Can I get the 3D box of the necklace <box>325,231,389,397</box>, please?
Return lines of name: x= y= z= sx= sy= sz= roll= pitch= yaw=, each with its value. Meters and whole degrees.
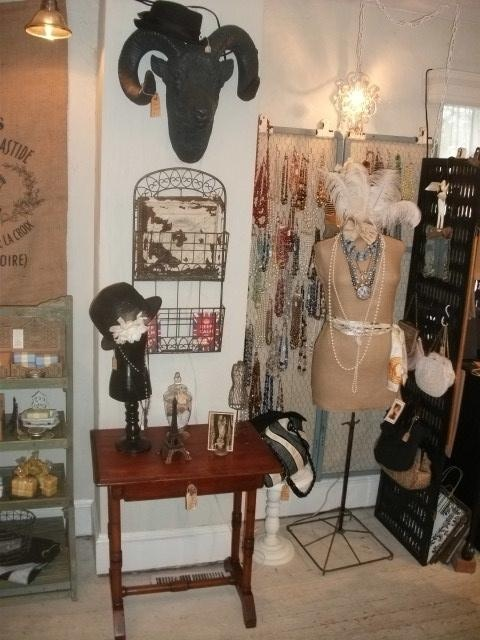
necklace: x=0.587 y=-0.013 z=2.783 sx=0.326 sy=0.780 sz=0.131 roll=4 pitch=11 yaw=6

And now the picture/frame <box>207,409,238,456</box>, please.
picture/frame: x=-0.085 y=0.508 z=2.520 sx=0.124 sy=0.175 sz=0.023 roll=5 pitch=-11 yaw=-14

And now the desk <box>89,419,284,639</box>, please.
desk: x=-0.280 y=0.964 z=2.641 sx=0.800 sy=0.887 sz=0.590 roll=0 pitch=11 yaw=-17

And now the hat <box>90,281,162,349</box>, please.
hat: x=-0.472 y=-0.027 z=2.296 sx=0.248 sy=0.231 sz=0.136 roll=-2 pitch=12 yaw=-28

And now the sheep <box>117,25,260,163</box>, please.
sheep: x=-0.241 y=-0.972 z=2.372 sx=0.561 sy=0.537 sz=0.266 roll=-5 pitch=48 yaw=-14

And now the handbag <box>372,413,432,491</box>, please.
handbag: x=0.932 y=0.778 z=3.220 sx=0.231 sy=0.399 sz=0.322 roll=0 pitch=11 yaw=-16
